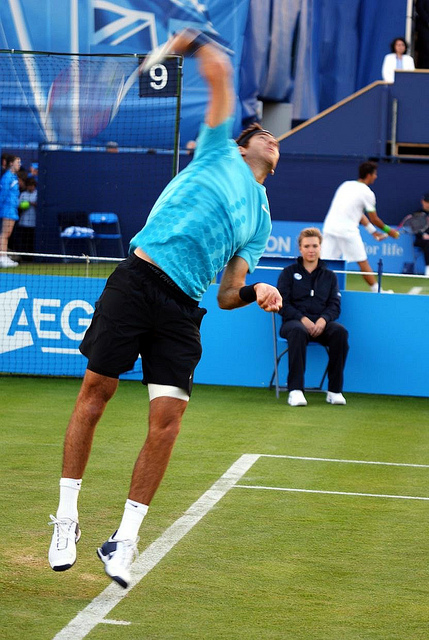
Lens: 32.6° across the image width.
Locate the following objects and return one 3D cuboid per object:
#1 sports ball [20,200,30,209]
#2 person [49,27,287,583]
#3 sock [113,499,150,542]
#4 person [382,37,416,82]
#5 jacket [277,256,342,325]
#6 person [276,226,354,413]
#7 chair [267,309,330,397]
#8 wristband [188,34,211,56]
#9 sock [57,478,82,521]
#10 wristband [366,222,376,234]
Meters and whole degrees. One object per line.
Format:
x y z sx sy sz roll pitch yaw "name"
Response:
-3.538 -2.194 13.856 0.149 0.140 0.152 -7 10 1 "sports ball"
-0.117 -0.054 2.501 0.776 1.293 0.506 3 2 -19 "person"
-0.264 0.657 2.403 0.094 0.156 0.170 4 2 6 "sock"
3.534 -4.826 14.124 0.635 1.266 0.351 5 -10 -5 "person"
0.870 -0.281 6.663 0.585 0.478 0.347 4 2 -2 "jacket"
0.913 -0.033 6.639 0.720 1.313 1.061 4 2 8 "person"
0.879 0.286 6.951 0.609 0.887 0.692 4 5 2 "chair"
-0.047 -0.929 2.437 0.075 0.051 0.087 3 2 -5 "wristband"
-0.486 0.592 2.468 0.070 0.140 0.153 4 2 -11 "sock"
2.107 -1.259 9.907 0.112 0.124 0.516 4 2 15 "wristband"
